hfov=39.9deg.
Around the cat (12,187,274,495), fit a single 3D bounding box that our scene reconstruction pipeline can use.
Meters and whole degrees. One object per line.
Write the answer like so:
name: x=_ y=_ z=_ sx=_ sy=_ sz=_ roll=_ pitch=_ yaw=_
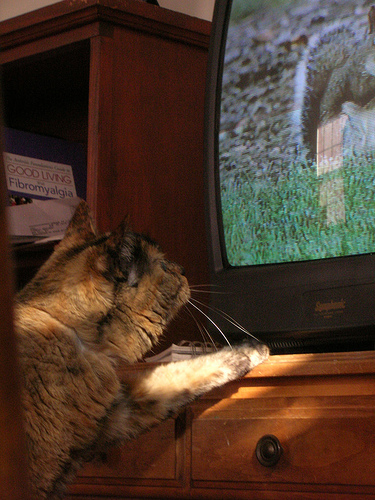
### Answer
cat: x=-0.102 y=0.114 z=0.938 sx=0.393 sy=0.497 sz=0.455 roll=-6 pitch=0 yaw=-17
